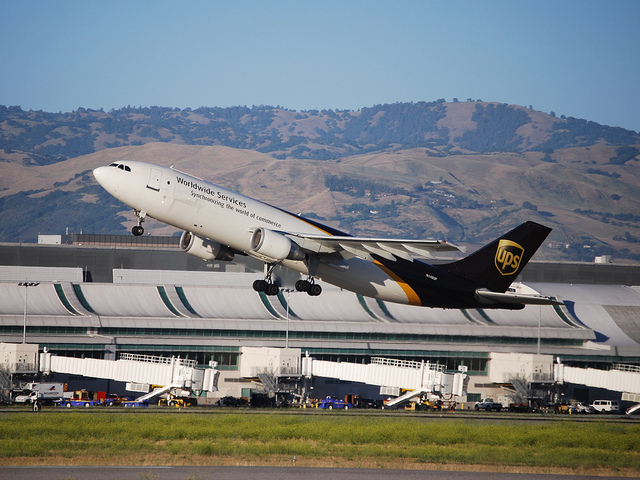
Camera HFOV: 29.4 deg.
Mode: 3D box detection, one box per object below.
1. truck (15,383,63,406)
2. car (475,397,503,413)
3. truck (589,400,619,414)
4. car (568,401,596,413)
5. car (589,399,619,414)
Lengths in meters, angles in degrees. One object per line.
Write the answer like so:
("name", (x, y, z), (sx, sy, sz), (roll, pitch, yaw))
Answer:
("truck", (-35.085, 19.270, 151.876), (5.045, 1.806, 3.237), (0, 0, -16))
("car", (22.481, 21.863, 161.600), (3.153, 1.068, 1.549), (1, -3, 21))
("truck", (38.594, 22.566, 164.526), (3.137, 1.045, 1.642), (2, -3, 13))
("car", (35.382, 22.567, 164.364), (3.155, 1.837, 5.386), (-3, -13, 13))
("car", (38.507, 22.487, 164.551), (3.104, 1.046, 1.631), (2, -3, 13))
